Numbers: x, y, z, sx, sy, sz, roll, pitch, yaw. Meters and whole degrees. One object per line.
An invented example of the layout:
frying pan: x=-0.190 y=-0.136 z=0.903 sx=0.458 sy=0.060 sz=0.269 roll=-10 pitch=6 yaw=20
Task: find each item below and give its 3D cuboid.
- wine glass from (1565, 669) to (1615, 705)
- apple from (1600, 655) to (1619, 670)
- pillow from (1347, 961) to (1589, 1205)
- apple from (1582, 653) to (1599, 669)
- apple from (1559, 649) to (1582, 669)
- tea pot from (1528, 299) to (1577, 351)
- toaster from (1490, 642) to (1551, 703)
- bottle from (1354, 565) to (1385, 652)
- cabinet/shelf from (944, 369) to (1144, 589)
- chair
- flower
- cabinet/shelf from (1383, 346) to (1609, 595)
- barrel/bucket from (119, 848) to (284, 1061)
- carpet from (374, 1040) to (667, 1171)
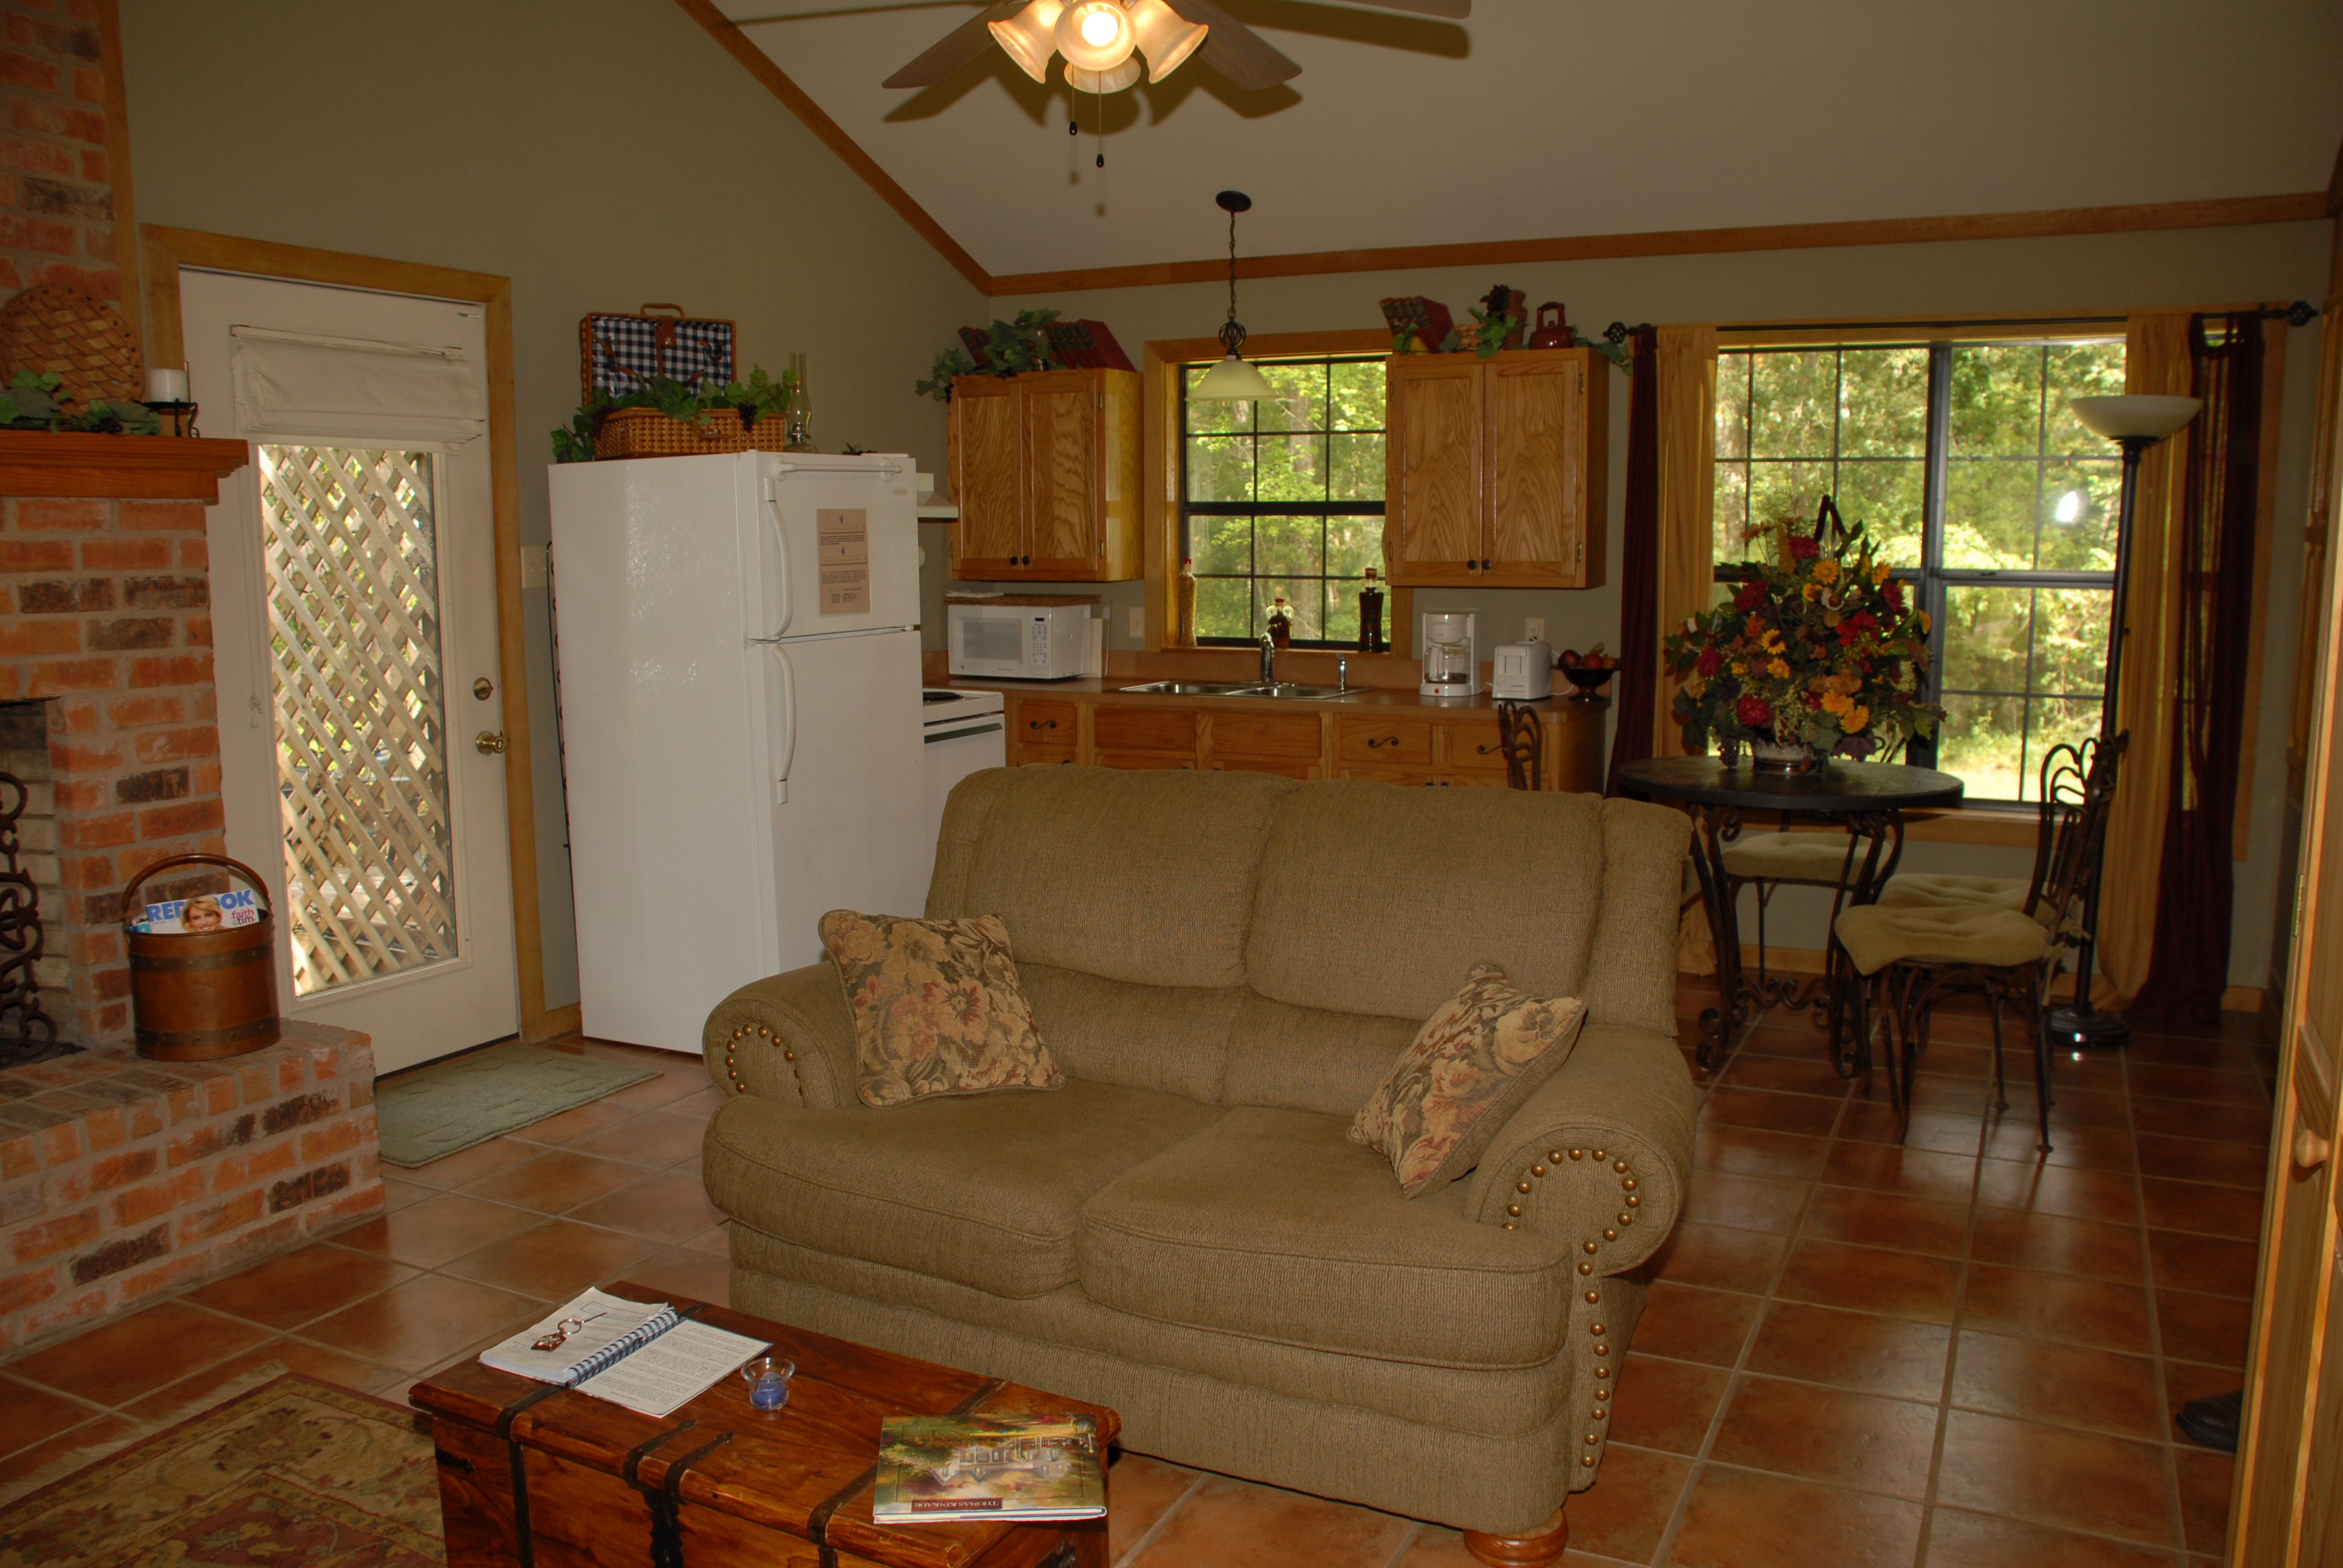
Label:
wine glass: x=1.862 y=-0.422 z=7.558 sx=0.170 sy=0.108 sz=0.161 roll=-1 pitch=-1 yaw=5
apple: x=1.935 y=-0.528 z=7.528 sx=0.075 sy=0.039 sz=0.073 roll=-6 pitch=3 yaw=-42
pillow: x=0.762 y=0.741 z=4.329 sx=0.544 sy=0.469 sz=0.320 roll=-3 pitch=10 yaw=-16
apple: x=1.834 y=-0.527 z=7.484 sx=0.059 sy=0.020 sz=0.057 roll=-23 pitch=19 yaw=-13
apple: x=1.756 y=-0.544 z=7.551 sx=0.096 sy=0.047 sz=0.093 roll=-6 pitch=13 yaw=-18
tea pot: x=1.681 y=-1.994 z=7.511 sx=0.252 sy=0.242 sz=0.183 roll=3 pitch=3 yaw=17
toaster: x=1.531 y=-0.451 z=7.566 sx=0.294 sy=0.280 sz=0.240 roll=-3 pitch=-2 yaw=42
bottle: x=0.955 y=-0.825 z=8.181 sx=0.134 sy=0.385 sz=0.150 roll=1 pitch=10 yaw=10
cabinet/shelf: x=-0.621 y=-1.514 z=8.513 sx=0.896 sy=0.994 sz=0.498 roll=5 pitch=11 yaw=26
chair: x=2.467 y=0.496 z=6.669 sx=2.267 sy=1.471 sz=1.258 roll=1 pitch=6 yaw=32
flower: x=2.377 y=-0.410 z=6.490 sx=1.172 sy=1.081 sz=0.962 roll=1 pitch=-3 yaw=17
cabinet/shelf: x=1.462 y=-1.400 z=7.534 sx=1.088 sy=1.008 sz=0.471 roll=2 pitch=5 yaw=29
barrel/bucket: x=-2.937 y=0.518 z=5.182 sx=0.429 sy=0.567 sz=0.393 roll=-1 pitch=10 yaw=0
carpet: x=-2.457 y=1.134 z=6.199 sx=0.773 sy=0.092 sz=1.078 roll=6 pitch=11 yaw=35
